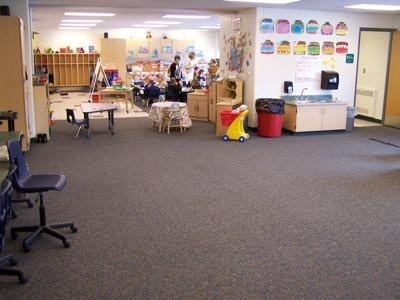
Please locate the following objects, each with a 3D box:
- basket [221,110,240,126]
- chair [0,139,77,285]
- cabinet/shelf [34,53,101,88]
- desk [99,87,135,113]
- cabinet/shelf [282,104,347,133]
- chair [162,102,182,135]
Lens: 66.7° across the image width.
[{"bbox_3d":[0.784,-0.836,8.010,0.417,0.264,0.307,-1,10,-4],"label":"basket"},{"bbox_3d":[-1.915,0.468,3.595,0.699,1.174,1.077,-10,17,-34],"label":"chair"},{"bbox_3d":[-7.600,-4.532,17.403,3.303,1.874,0.452,-2,-2,-11],"label":"cabinet/shelf"},{"bbox_3d":[-3.611,-1.994,12.760,1.237,0.919,1.082,-3,4,-19],"label":"desk"},{"bbox_3d":[3.374,-0.987,9.050,1.683,0.833,0.968,-3,13,-9],"label":"cabinet/shelf"},{"bbox_3d":[-0.828,-0.955,8.939,0.618,0.837,0.698,-1,14,-4],"label":"chair"}]
